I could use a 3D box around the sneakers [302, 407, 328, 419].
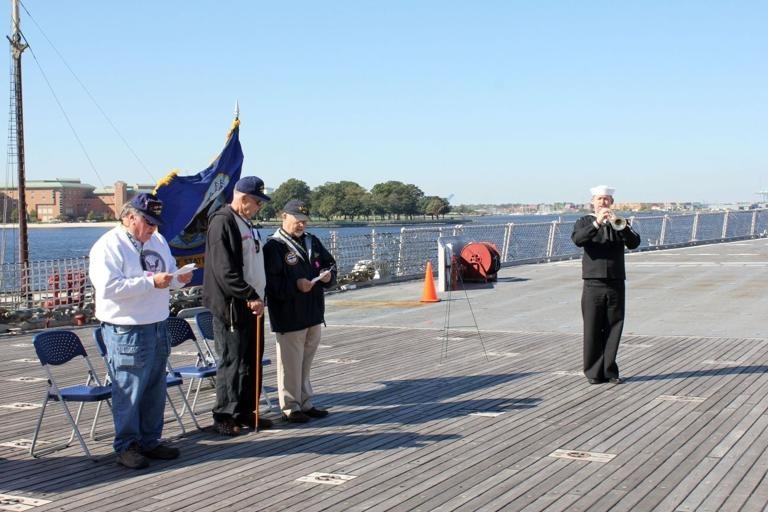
[{"bbox_3d":[-0.819,1.866,9.559,0.323,0.124,0.114,0,5,7],"label":"sneakers"}]

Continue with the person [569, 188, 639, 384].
[{"bbox_3d":[2.965,0.514,10.760,0.747,2.345,0.515,-1,4,25],"label":"person"}]

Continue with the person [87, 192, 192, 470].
[{"bbox_3d":[-2.527,0.733,8.231,0.888,2.800,0.616,-3,3,-20],"label":"person"}]

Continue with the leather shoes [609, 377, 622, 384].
[{"bbox_3d":[3.111,1.666,10.750,0.074,0.063,0.156,4,7,41],"label":"leather shoes"}]

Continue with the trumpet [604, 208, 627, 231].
[{"bbox_3d":[3.034,-0.499,10.456,0.256,0.287,0.426,-1,3,16],"label":"trumpet"}]

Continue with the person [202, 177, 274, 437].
[{"bbox_3d":[-1.632,0.545,8.940,0.750,2.904,0.593,-3,3,-13],"label":"person"}]

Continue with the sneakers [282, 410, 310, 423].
[{"bbox_3d":[-1.033,1.892,9.459,0.345,0.137,0.126,0,4,7],"label":"sneakers"}]

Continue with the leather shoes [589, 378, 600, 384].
[{"bbox_3d":[2.825,1.668,10.733,0.155,0.062,0.117,-1,4,24],"label":"leather shoes"}]

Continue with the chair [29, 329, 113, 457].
[{"bbox_3d":[-3.346,1.462,8.722,0.997,1.307,0.940,-4,0,-15],"label":"chair"}]

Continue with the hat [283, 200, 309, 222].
[{"bbox_3d":[-1.015,-0.555,9.395,0.301,0.150,0.220,9,4,9],"label":"hat"}]

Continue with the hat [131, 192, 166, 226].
[{"bbox_3d":[-2.426,-0.550,8.247,0.382,0.206,0.272,31,25,6],"label":"hat"}]

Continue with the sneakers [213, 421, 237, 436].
[{"bbox_3d":[-1.799,1.941,8.985,0.211,0.091,0.149,-4,-9,24],"label":"sneakers"}]

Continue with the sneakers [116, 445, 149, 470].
[{"bbox_3d":[-2.566,2.043,8.126,0.315,0.218,0.120,0,4,31],"label":"sneakers"}]
